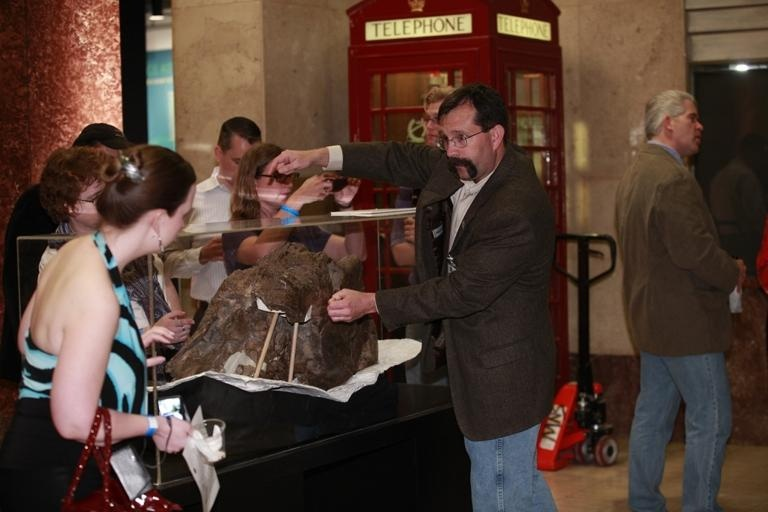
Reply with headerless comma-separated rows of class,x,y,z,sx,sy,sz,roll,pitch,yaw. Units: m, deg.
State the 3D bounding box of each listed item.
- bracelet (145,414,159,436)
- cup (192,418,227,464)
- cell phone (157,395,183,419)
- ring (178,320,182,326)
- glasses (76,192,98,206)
bracelet,-0.806,0.583,2.700,0.044,0.063,0.068,5,25,-1
cup,-0.622,0.654,2.814,0.132,0.139,0.138,0,13,0
cell phone,-0.833,0.578,3.009,0.048,0.069,0.092,-8,-7,24
ring,-0.816,0.260,3.101,0.028,0.026,0.007,1,-1,-41
glasses,-1.149,-0.223,3.019,0.067,0.023,0.068,-10,16,-40
